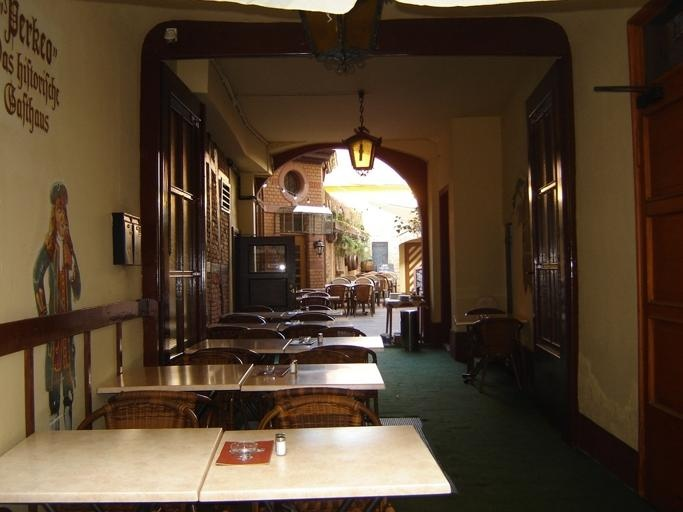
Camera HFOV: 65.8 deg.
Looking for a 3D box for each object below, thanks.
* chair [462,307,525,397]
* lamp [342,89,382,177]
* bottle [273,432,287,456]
[{"bbox_3d":[1.839,1.160,6.551,0.762,1.113,0.837,0,3,4],"label":"chair"},{"bbox_3d":[0.278,-1.640,7.025,0.443,1.194,1.437,0,2,3],"label":"lamp"},{"bbox_3d":[-0.287,0.881,2.484,0.067,0.114,0.077,0,-3,-8],"label":"bottle"}]
